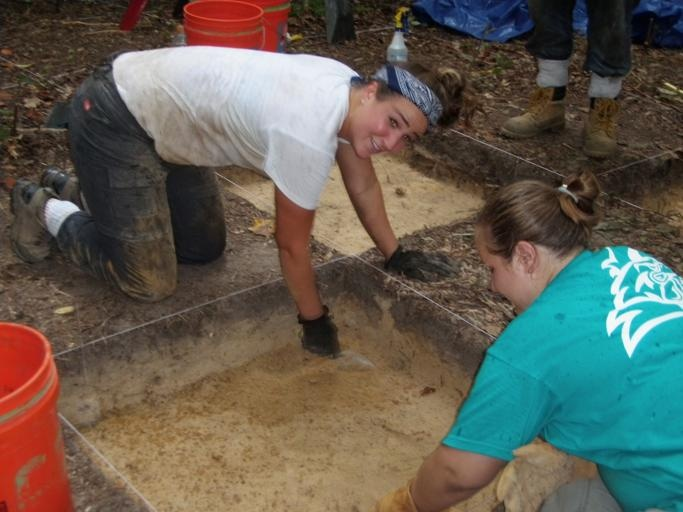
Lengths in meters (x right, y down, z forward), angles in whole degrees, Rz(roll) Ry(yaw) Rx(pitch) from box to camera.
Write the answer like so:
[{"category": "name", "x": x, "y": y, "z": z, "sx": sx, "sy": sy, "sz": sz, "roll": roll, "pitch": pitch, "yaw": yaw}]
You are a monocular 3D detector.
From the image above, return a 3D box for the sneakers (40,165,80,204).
[{"category": "sneakers", "x": -1.526, "y": -0.379, "z": 3.609, "sx": 0.304, "sy": 0.111, "sz": 0.108, "roll": 36, "pitch": 58, "yaw": 19}]

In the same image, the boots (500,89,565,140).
[{"category": "boots", "x": 1.365, "y": -1.041, "z": 4.678, "sx": 0.497, "sy": 0.369, "sz": 0.198, "roll": -13, "pitch": 34, "yaw": -11}]

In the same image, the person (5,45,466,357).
[{"category": "person", "x": -0.534, "y": -0.193, "z": 3.209, "sx": 2.135, "sy": 1.313, "sz": 0.881, "roll": 13, "pitch": 53, "yaw": -7}]

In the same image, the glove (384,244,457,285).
[{"category": "glove", "x": 0.418, "y": 0.049, "z": 3.449, "sx": 0.313, "sy": 0.083, "sz": 0.187, "roll": 12, "pitch": 64, "yaw": -9}]

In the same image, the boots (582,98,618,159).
[{"category": "boots", "x": 1.722, "y": -0.892, "z": 4.494, "sx": 0.182, "sy": 0.300, "sz": 0.501, "roll": 4, "pitch": 48, "yaw": 12}]

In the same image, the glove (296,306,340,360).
[{"category": "glove", "x": -0.115, "y": 0.378, "z": 3.169, "sx": 0.228, "sy": 0.234, "sz": 0.155, "roll": 12, "pitch": 44, "yaw": 29}]

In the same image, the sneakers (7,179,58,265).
[{"category": "sneakers", "x": -1.624, "y": -0.175, "z": 3.446, "sx": 0.169, "sy": 0.422, "sz": 0.231, "roll": -2, "pitch": 6, "yaw": 40}]
